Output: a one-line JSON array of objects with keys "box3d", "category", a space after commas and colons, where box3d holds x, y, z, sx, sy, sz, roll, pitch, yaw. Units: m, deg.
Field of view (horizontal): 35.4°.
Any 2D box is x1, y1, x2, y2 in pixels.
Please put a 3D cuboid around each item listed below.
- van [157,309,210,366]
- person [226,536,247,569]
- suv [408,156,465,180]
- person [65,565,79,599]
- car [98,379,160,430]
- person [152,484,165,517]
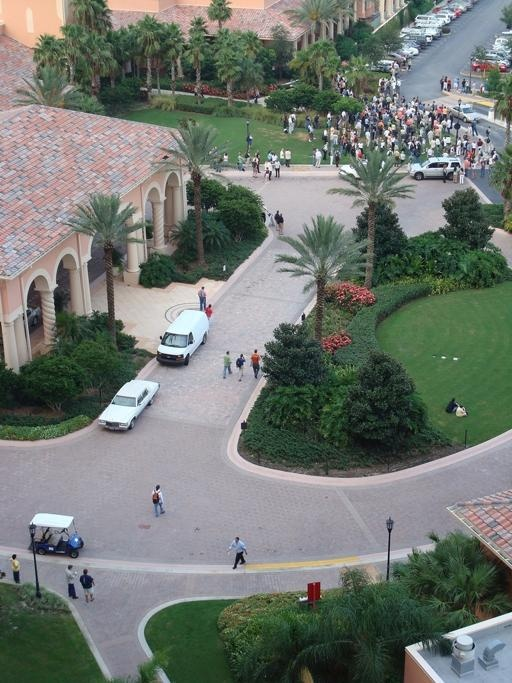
[{"box3d": [-3.454, -0.130, 38.776, 1.629, 1.197, 3.083, 12, 34, 11], "category": "van"}, {"box3d": [-0.516, 6.510, 25.706, 0.562, 1.231, 1.288, -1, 15, -1], "category": "person"}, {"box3d": [14.095, -13.789, 63.456, 3.886, 1.485, 1.803, 0, 28, 1], "category": "suv"}, {"box3d": [-5.508, 7.088, 24.323, 0.330, 0.971, 1.133, -5, 16, -14], "category": "person"}, {"box3d": [-5.175, 2.530, 33.565, 1.251, 0.726, 2.656, 12, 36, 13], "category": "car"}, {"box3d": [-3.326, 5.412, 27.965, 0.424, 1.209, 1.004, -3, 16, -7], "category": "person"}]
